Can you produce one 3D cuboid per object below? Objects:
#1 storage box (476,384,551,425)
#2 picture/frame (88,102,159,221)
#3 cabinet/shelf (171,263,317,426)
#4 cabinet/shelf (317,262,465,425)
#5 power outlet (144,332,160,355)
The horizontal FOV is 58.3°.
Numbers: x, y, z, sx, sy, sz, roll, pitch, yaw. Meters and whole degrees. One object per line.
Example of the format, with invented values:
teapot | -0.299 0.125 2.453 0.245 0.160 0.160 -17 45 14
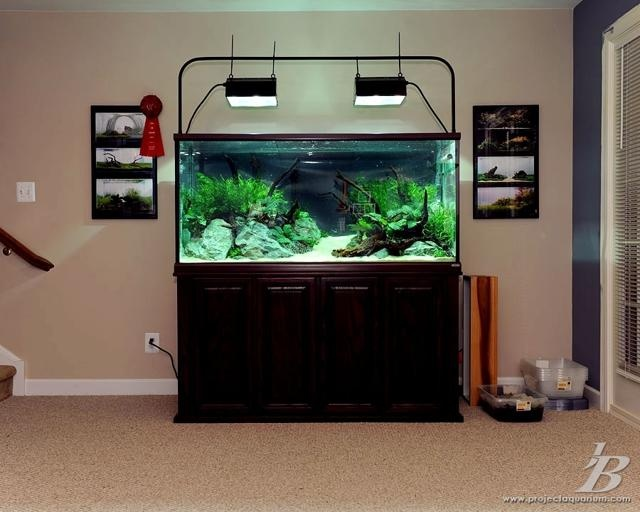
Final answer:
storage box | 1.578 1.180 4.669 0.502 0.203 0.410 -3 7 -10
picture/frame | -1.716 -0.831 5.016 0.581 1.000 0.031 -1 -2 -1
cabinet/shelf | -0.590 0.678 4.467 1.185 1.196 0.425 0 2 0
cabinet/shelf | 0.540 0.669 4.474 1.175 1.177 0.423 0 -4 -1
power outlet | -1.482 0.767 5.041 0.178 0.254 0.072 1 -2 -7
